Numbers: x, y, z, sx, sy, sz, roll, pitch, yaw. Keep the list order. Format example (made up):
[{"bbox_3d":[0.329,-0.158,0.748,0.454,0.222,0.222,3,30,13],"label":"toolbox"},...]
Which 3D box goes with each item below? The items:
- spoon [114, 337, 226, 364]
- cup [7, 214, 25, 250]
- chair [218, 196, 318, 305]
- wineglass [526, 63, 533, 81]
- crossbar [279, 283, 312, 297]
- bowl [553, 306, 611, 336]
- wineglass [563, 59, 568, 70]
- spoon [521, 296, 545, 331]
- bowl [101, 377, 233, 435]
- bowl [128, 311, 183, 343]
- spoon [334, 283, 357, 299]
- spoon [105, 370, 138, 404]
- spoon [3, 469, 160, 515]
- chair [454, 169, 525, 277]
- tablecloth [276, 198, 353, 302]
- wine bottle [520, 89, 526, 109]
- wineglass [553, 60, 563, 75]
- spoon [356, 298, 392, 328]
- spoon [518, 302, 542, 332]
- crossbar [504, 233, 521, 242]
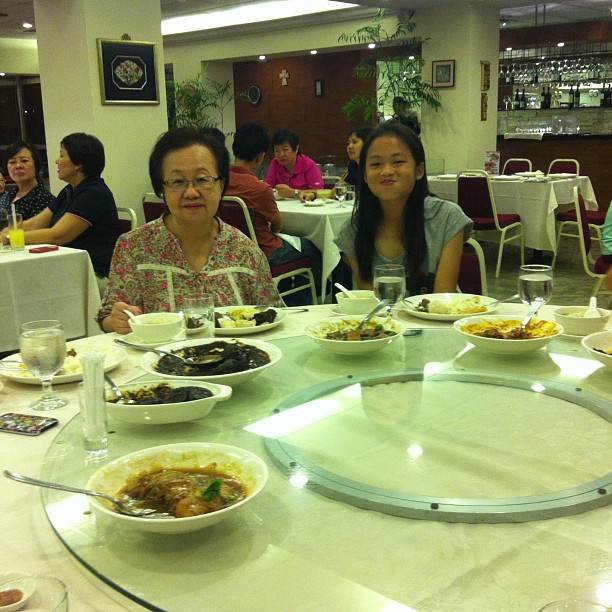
[{"bbox_3d":[-0.300,0.100,1.301,0.311,0.024,0.054,3,10,21],"label":"spoon"},{"bbox_3d":[-1.622,-0.413,3.272,0.075,0.197,0.112,-10,15,-23],"label":"cup"},{"bbox_3d":[-0.300,-0.315,3.970,0.614,0.773,0.516,-9,22,-31],"label":"chair"},{"bbox_3d":[4.148,-4.359,10.888,0.109,0.354,0.278,1,14,19],"label":"wineglass"},{"bbox_3d":[-0.085,-0.118,4.204,0.263,0.042,0.036,-22,-31,21],"label":"crossbar"},{"bbox_3d":[0.676,0.021,1.480,0.121,0.043,0.105,-5,10,-18],"label":"bowl"},{"bbox_3d":[4.786,-4.450,10.802,0.074,0.196,0.160,2,14,22],"label":"wineglass"},{"bbox_3d":[0.590,0.020,1.524,0.023,0.016,0.116,11,48,46],"label":"spoon"},{"bbox_3d":[-0.236,0.160,0.966,0.168,0.026,0.110,0,5,-12],"label":"bowl"},{"bbox_3d":[-0.380,0.048,1.485,0.110,0.039,0.107,0,15,0],"label":"bowl"},{"bbox_3d":[0.128,-0.037,1.773,0.020,0.021,0.129,39,4,36],"label":"spoon"},{"bbox_3d":[-0.327,0.143,1.014,0.013,0.067,0.041,-36,0,45],"label":"spoon"},{"bbox_3d":[-0.284,0.239,0.750,0.203,0.022,0.036,9,5,5],"label":"spoon"},{"bbox_3d":[1.939,-0.899,6.069,0.843,1.128,0.758,-13,19,-40],"label":"chair"},{"bbox_3d":[0.015,-0.415,4.374,0.665,0.681,0.531,0,15,-11],"label":"tablecloth"},{"bbox_3d":[3.972,-3.744,10.726,0.096,0.254,0.131,1,15,17],"label":"wine bottle"},{"bbox_3d":[4.694,-4.435,10.867,0.130,0.288,0.223,2,14,21],"label":"wineglass"},{"bbox_3d":[0.181,0.005,1.528,0.034,0.020,0.151,31,61,23],"label":"spoon"},{"bbox_3d":[0.583,0.029,1.520,0.017,0.082,0.013,32,-12,12],"label":"spoon"},{"bbox_3d":[2.070,-0.704,5.935,0.147,0.032,0.142,-10,8,34],"label":"crossbar"}]
